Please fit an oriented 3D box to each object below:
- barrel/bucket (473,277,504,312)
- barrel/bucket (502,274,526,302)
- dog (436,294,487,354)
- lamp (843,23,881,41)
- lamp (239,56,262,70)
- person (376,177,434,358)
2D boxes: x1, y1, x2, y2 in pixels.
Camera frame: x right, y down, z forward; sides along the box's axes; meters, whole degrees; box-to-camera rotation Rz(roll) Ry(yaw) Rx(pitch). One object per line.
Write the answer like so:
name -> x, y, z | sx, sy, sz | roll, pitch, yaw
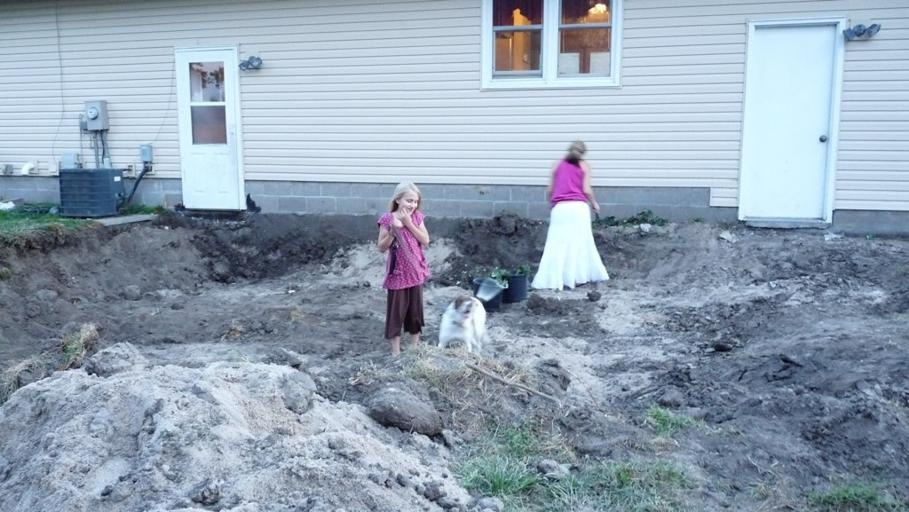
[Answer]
barrel/bucket -> 0.606, 0.667, 11.713 | 0.562, 0.411, 0.557 | 1, 5, 0
barrel/bucket -> 1.089, 0.578, 11.867 | 0.445, 0.466, 0.462 | 0, 3, 0
dog -> 0.125, 0.965, 10.284 | 0.755, 0.821, 1.359 | 10, 6, 3
lamp -> 7.739, -4.219, 12.664 | 0.676, 0.309, 0.176 | -1, 11, -7
lamp -> -4.376, -4.112, 14.321 | 0.476, 0.291, 0.147 | 3, 11, 9
person -> -0.752, 0.231, 9.716 | 0.678, 2.520, 0.622 | 2, 11, 4
